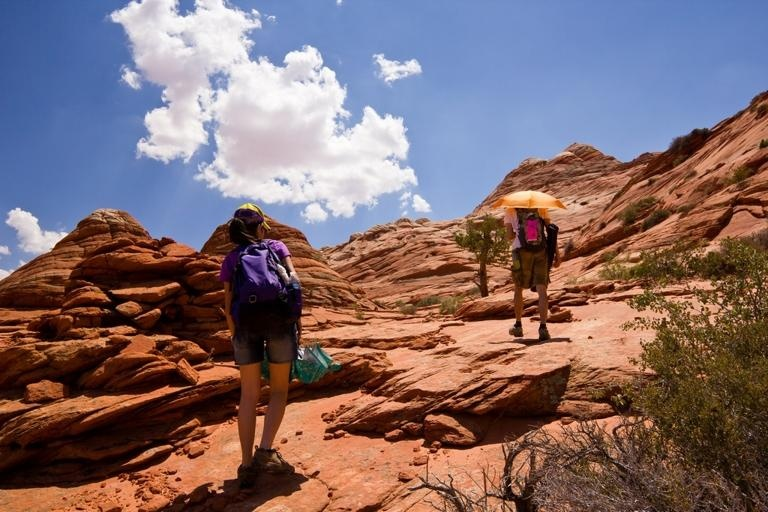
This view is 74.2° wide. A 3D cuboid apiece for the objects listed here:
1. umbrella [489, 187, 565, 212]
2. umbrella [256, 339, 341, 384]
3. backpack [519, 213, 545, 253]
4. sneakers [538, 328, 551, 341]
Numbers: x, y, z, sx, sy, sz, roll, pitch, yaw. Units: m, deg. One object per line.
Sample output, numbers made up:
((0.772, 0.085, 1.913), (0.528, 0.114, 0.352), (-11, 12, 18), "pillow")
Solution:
((2.695, -1.034, 9.489), (1.117, 0.469, 1.614), (-7, 10, 18), "umbrella")
((-1.162, 1.497, 7.281), (1.192, 0.591, 0.795), (14, -17, -4), "umbrella")
((2.559, -0.445, 8.919), (0.437, 0.696, 0.263), (-9, 10, 17), "backpack")
((2.691, 1.300, 8.573), (0.186, 0.215, 0.290), (-9, 10, 17), "sneakers")
